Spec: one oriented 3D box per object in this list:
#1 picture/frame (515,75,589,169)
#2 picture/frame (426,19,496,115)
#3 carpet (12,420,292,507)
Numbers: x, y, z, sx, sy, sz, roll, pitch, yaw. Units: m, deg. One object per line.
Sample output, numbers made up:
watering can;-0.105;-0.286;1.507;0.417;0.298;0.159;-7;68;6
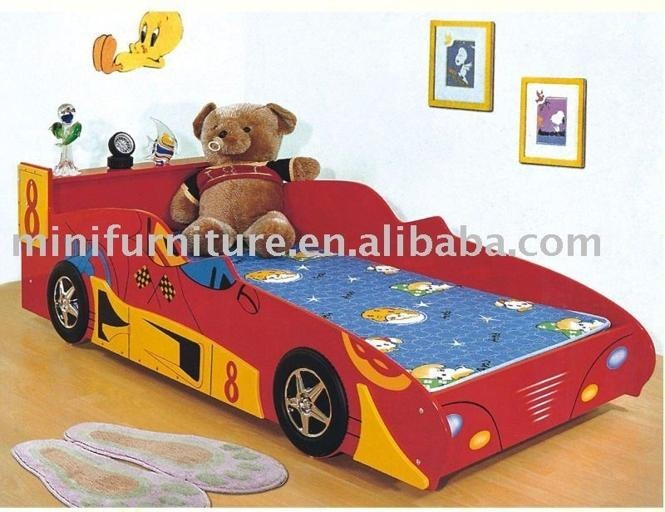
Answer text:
picture/frame;1.242;-0.753;3.623;0.485;0.598;0.042;9;14;40
picture/frame;0.786;-1.144;3.900;0.537;0.624;0.044;12;19;39
carpet;-0.784;0.870;2.670;1.204;0.106;0.576;3;5;9
